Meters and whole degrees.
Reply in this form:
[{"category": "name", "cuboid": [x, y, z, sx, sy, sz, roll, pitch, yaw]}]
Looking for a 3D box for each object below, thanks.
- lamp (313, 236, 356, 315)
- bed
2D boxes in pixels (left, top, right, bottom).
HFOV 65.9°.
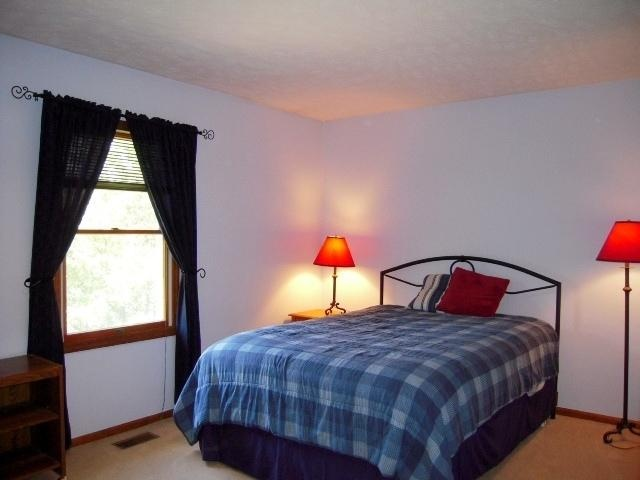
[{"category": "lamp", "cuboid": [0.175, 0.433, 5.706, 0.448, 0.931, 0.463, -2, 10, -25]}, {"category": "bed", "cuboid": [0.661, 0.961, 4.136, 2.193, 1.379, 2.736, 5, 8, 34]}]
